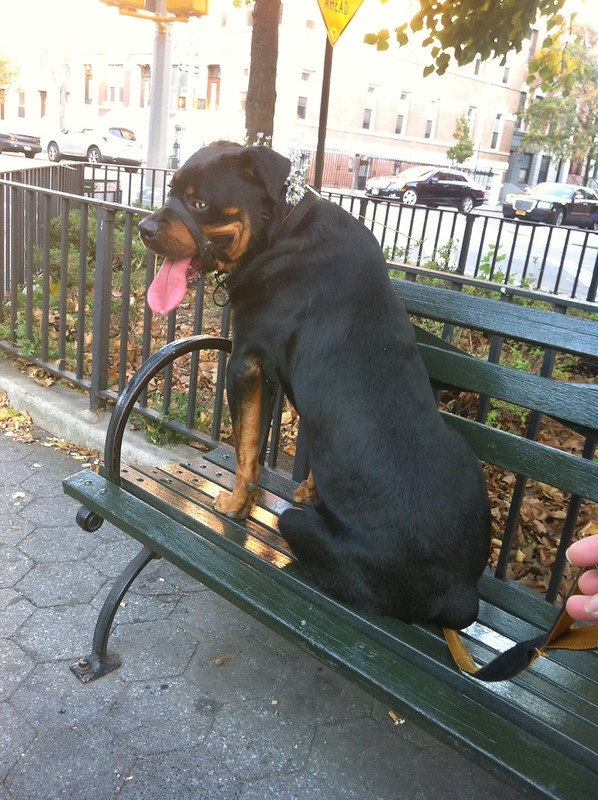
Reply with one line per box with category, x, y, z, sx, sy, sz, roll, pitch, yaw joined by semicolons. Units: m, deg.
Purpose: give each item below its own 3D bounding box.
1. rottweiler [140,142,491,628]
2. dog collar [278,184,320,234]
rottweiler;0.106;-0.083;1.613;1.218;1.006;0.539;29;28;36
dog collar;0.003;-0.529;1.588;0.047;0.131;0.098;38;4;-18
